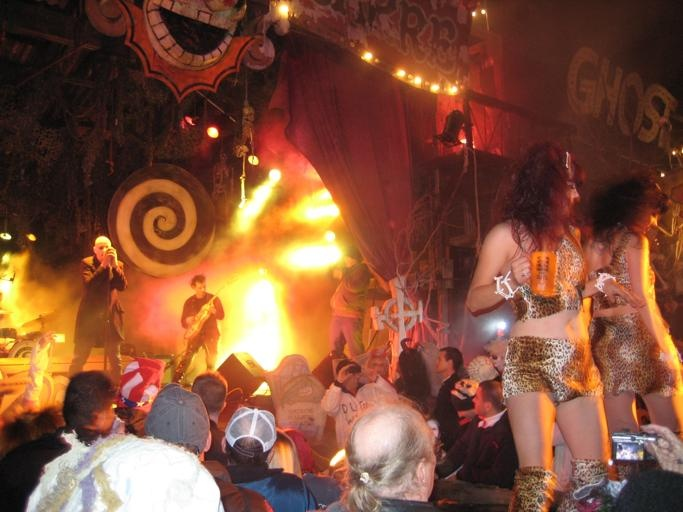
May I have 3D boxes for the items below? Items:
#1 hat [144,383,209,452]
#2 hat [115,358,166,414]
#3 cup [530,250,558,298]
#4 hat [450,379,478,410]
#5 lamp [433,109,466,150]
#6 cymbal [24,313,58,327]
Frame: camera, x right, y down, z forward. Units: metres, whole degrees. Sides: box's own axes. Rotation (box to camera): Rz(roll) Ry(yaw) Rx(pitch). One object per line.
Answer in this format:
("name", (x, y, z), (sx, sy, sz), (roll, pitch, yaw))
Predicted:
("hat", (-1.122, 1.152, 4.249), (0.450, 0.621, 0.334), (15, -73, -18))
("hat", (-1.634, 1.129, 5.285), (0.336, 0.457, 0.469), (15, -15, -6))
("cup", (1.209, 0.102, 3.674), (0.145, 0.216, 0.143), (5, -29, 3))
("hat", (1.245, 1.409, 6.190), (0.309, 0.288, 0.213), (23, -16, -33))
("lamp", (1.436, -1.693, 8.112), (0.400, 0.396, 0.476), (2, -30, 8))
("cymbal", (-5.927, 1.288, 12.223), (0.300, 0.245, 0.318), (-1, -18, 4))
